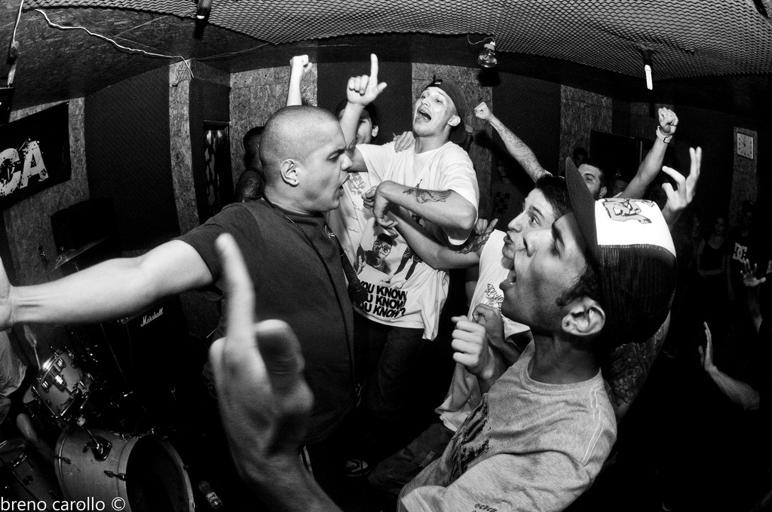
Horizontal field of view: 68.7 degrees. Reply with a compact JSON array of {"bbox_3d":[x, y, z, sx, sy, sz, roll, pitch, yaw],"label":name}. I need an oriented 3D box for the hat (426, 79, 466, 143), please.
[{"bbox_3d":[0.375,-0.819,3.157,0.207,0.331,0.171,-2,21,39],"label":"hat"}]

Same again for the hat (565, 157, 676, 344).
[{"bbox_3d":[0.760,0.000,1.888,0.393,0.588,0.201,10,10,16],"label":"hat"}]

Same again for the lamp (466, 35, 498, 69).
[{"bbox_3d":[0.494,-0.994,2.719,0.104,0.142,0.146,-7,41,-21],"label":"lamp"}]

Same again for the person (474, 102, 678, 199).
[{"bbox_3d":[0.902,-0.651,3.133,1.401,0.315,0.633,23,29,38],"label":"person"}]

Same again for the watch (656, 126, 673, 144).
[{"bbox_3d":[1.314,-0.568,2.651,0.090,0.085,0.058,7,10,0],"label":"watch"}]
